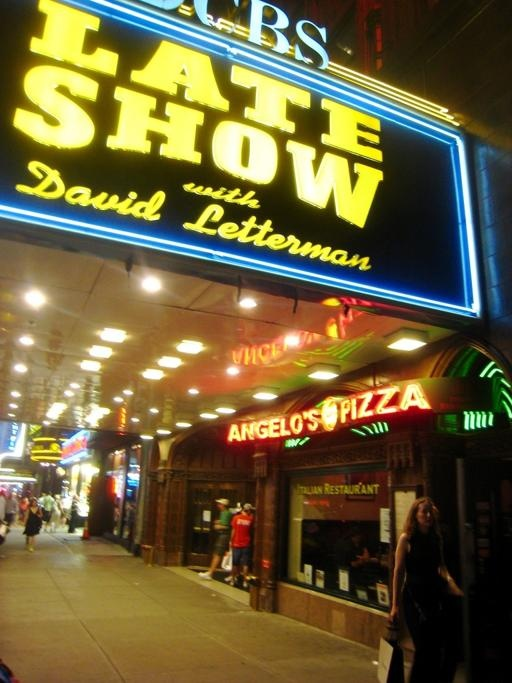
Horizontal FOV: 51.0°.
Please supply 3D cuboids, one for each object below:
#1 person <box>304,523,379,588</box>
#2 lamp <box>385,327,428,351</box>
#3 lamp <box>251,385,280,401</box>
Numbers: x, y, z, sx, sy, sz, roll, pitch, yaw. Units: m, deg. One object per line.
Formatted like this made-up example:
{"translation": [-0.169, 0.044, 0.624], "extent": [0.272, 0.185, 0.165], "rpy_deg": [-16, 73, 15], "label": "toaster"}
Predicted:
{"translation": [1.326, 3.189, 8.003], "extent": [0.721, 0.842, 1.259], "rpy_deg": [11, -18, -21], "label": "person"}
{"translation": [1.642, -0.030, 5.816], "extent": [0.405, 0.136, 0.414], "rpy_deg": [7, -15, -10], "label": "lamp"}
{"translation": [0.143, 0.934, 9.711], "extent": [0.387, 0.117, 0.370], "rpy_deg": [12, -14, -34], "label": "lamp"}
